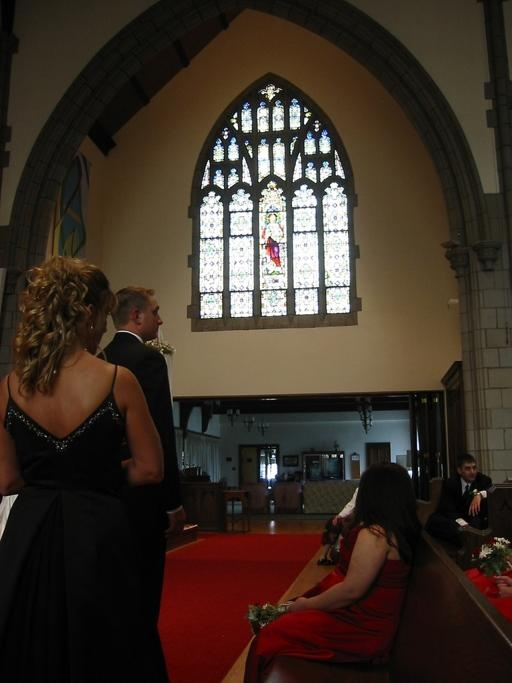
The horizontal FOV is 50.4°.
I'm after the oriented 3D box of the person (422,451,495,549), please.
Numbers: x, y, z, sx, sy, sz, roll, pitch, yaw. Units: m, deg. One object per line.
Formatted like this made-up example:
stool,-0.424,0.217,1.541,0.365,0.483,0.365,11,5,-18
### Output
person,2.215,1.810,5.708,0.530,1.278,0.854,1,-6,0
